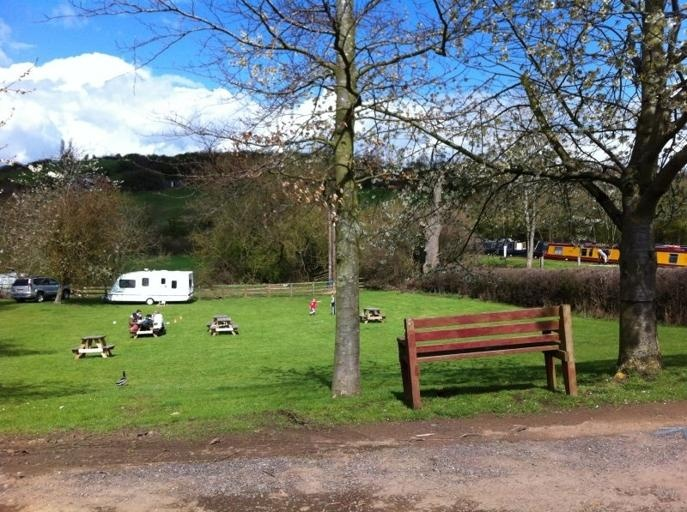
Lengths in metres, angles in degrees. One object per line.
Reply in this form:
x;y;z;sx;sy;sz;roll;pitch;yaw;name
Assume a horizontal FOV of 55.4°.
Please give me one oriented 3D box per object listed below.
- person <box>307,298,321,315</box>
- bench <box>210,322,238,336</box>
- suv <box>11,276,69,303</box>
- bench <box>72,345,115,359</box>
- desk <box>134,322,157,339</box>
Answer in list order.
-1.684;3.048;39.255;0.994;1.245;0.617;-3;4;-3;person
-5.645;3.404;31.122;1.344;0.365;1.605;2;-2;-9;bench
-22.152;2.327;47.224;1.312;1.539;2.827;0;-2;42;suv
-9.685;3.627;25.370;1.429;0.381;1.478;2;-2;-20;bench
-9.235;3.446;30.585;1.069;0.442;1.833;2;-2;-17;desk
